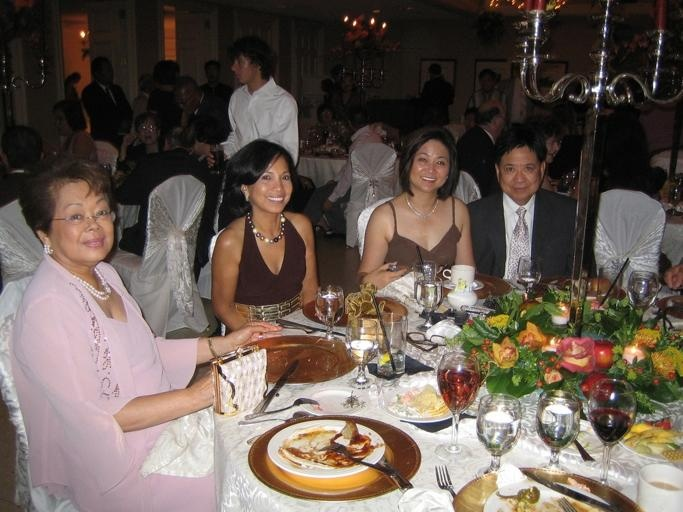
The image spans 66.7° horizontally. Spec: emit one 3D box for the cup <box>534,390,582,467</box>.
[{"bbox_3d":[0.551,0.440,1.326,0.094,0.192,0.190,6,11,26],"label":"cup"}]

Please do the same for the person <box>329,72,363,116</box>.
[{"bbox_3d":[0.074,-2.746,8.839,0.421,0.412,1.208,15,-4,8],"label":"person"}]

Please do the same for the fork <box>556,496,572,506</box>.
[{"bbox_3d":[0.492,0.544,1.150,0.023,0.009,0.021,2,9,3],"label":"fork"}]

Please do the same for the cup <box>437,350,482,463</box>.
[{"bbox_3d":[0.319,0.393,1.432,0.110,0.230,0.251,4,10,15],"label":"cup"}]

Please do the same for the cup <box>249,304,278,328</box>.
[{"bbox_3d":[-0.392,0.296,2.616,0.121,0.093,0.124,1,1,0],"label":"cup"}]

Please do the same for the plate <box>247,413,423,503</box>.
[{"bbox_3d":[-0.019,0.507,1.323,0.427,0.079,0.295,-2,10,-17],"label":"plate"}]

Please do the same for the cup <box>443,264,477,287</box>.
[{"bbox_3d":[0.517,0.085,2.293,0.128,0.098,0.101,-2,5,17],"label":"cup"}]

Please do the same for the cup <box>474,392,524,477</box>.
[{"bbox_3d":[0.387,0.423,1.285,0.099,0.127,0.126,4,10,17],"label":"cup"}]

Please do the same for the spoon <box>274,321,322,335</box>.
[{"bbox_3d":[-0.175,0.274,2.049,0.225,0.013,0.062,9,30,24],"label":"spoon"}]

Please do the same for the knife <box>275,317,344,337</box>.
[{"bbox_3d":[-0.124,0.281,2.033,0.259,0.012,0.044,6,29,29],"label":"knife"}]

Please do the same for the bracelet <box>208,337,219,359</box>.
[{"bbox_3d":[-0.482,0.344,1.954,0.016,0.065,0.064,-20,15,-5],"label":"bracelet"}]

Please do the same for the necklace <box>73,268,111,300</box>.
[{"bbox_3d":[-0.853,0.097,1.803,0.059,0.022,0.080,-12,50,-47],"label":"necklace"}]

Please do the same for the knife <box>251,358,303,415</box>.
[{"bbox_3d":[-0.198,0.410,1.644,0.041,0.028,0.338,7,16,16],"label":"knife"}]

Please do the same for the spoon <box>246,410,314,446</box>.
[{"bbox_3d":[-0.189,0.482,1.484,0.131,0.024,0.082,-5,12,-25],"label":"spoon"}]

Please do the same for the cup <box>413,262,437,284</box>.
[{"bbox_3d":[0.372,0.073,2.321,0.098,0.109,0.094,0,4,0],"label":"cup"}]

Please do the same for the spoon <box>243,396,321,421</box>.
[{"bbox_3d":[-0.180,0.450,1.522,0.205,0.030,0.036,-5,18,-21],"label":"spoon"}]

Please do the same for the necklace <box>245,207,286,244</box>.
[{"bbox_3d":[-0.387,-0.172,2.708,0.149,0.194,0.028,-4,13,-17],"label":"necklace"}]

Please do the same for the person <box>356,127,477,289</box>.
[{"bbox_3d":[0.451,-0.322,2.996,0.671,0.809,0.308,2,10,4],"label":"person"}]

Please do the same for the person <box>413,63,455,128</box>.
[{"bbox_3d":[1.853,-3.217,10.276,0.668,1.312,1.196,3,10,9],"label":"person"}]
